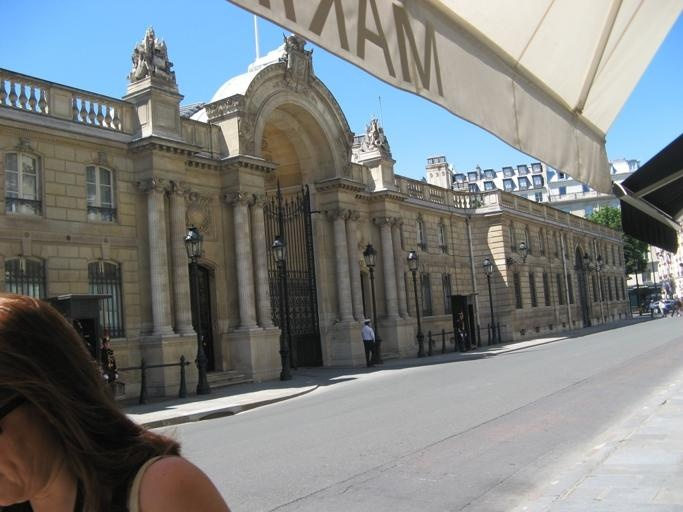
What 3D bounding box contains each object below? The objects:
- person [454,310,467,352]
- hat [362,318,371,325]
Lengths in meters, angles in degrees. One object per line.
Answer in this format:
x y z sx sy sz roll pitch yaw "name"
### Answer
6.731 4.168 35.453 0.587 2.136 1.218 2 0 25 "person"
1.244 3.159 30.744 0.268 0.273 0.344 -3 -27 0 "hat"
